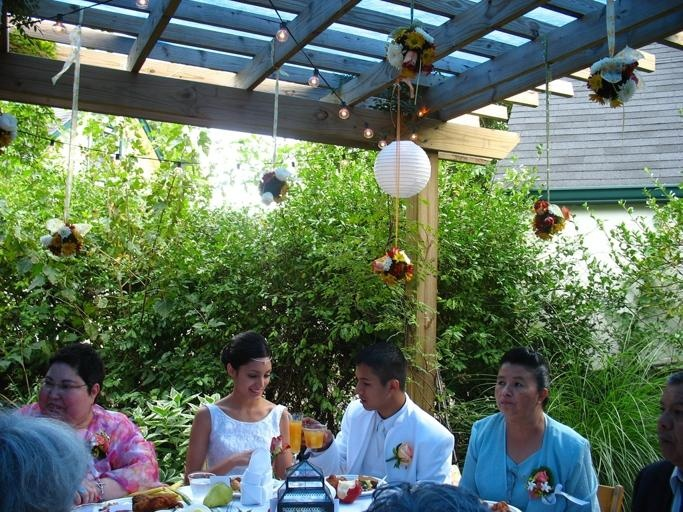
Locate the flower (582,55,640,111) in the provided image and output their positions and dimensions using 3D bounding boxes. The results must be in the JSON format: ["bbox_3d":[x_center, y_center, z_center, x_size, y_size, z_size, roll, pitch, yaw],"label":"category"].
[{"bbox_3d":[1.446,-0.955,2.893,0.259,0.252,0.284,-11,-19,43],"label":"flower"}]

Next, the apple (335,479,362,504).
[{"bbox_3d":[0.030,0.968,2.226,0.077,0.076,0.098,1,-12,-3],"label":"apple"}]

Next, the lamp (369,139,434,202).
[{"bbox_3d":[0.421,-0.597,3.749,0.352,0.462,0.413,4,19,17],"label":"lamp"}]

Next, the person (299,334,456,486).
[{"bbox_3d":[0.197,0.946,2.837,0.714,0.913,0.468,0,-7,16],"label":"person"}]

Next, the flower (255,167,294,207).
[{"bbox_3d":[-0.442,-0.440,3.514,0.192,0.229,0.250,5,-14,-11],"label":"flower"}]

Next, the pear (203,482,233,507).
[{"bbox_3d":[-0.492,0.964,2.166,0.102,0.078,0.074,-21,18,-32],"label":"pear"}]

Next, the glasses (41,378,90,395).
[{"bbox_3d":[-1.247,0.584,2.422,0.191,0.053,0.065,1,-14,4],"label":"glasses"}]

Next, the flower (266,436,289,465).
[{"bbox_3d":[-0.292,0.916,2.589,0.104,0.144,0.057,-5,19,-14],"label":"flower"}]

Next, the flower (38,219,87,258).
[{"bbox_3d":[-1.723,-0.129,3.376,0.280,0.262,0.216,-5,-15,28],"label":"flower"}]

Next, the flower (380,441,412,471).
[{"bbox_3d":[0.285,0.986,2.637,0.118,0.058,0.124,15,-47,7],"label":"flower"}]

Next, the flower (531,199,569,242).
[{"bbox_3d":[1.411,-0.258,3.659,0.191,0.309,0.267,-9,-17,40],"label":"flower"}]

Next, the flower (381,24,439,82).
[{"bbox_3d":[0.408,-1.119,2.994,0.296,0.262,0.194,9,-15,-25],"label":"flower"}]

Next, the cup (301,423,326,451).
[{"bbox_3d":[-0.125,0.857,2.577,0.122,0.093,0.124,0,-13,0],"label":"cup"}]

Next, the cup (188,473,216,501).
[{"bbox_3d":[-0.583,0.951,2.240,0.099,0.076,0.101,2,-13,0],"label":"cup"}]

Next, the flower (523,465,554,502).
[{"bbox_3d":[0.882,1.007,2.393,0.111,0.141,0.042,-2,-14,20],"label":"flower"}]

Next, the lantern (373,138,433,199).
[{"bbox_3d":[0.380,-0.544,3.672,0.416,0.461,0.364,0,3,-4],"label":"lantern"}]

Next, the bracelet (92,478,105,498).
[{"bbox_3d":[-1.048,1.009,2.350,0.022,0.072,0.072,-2,5,-13],"label":"bracelet"}]
